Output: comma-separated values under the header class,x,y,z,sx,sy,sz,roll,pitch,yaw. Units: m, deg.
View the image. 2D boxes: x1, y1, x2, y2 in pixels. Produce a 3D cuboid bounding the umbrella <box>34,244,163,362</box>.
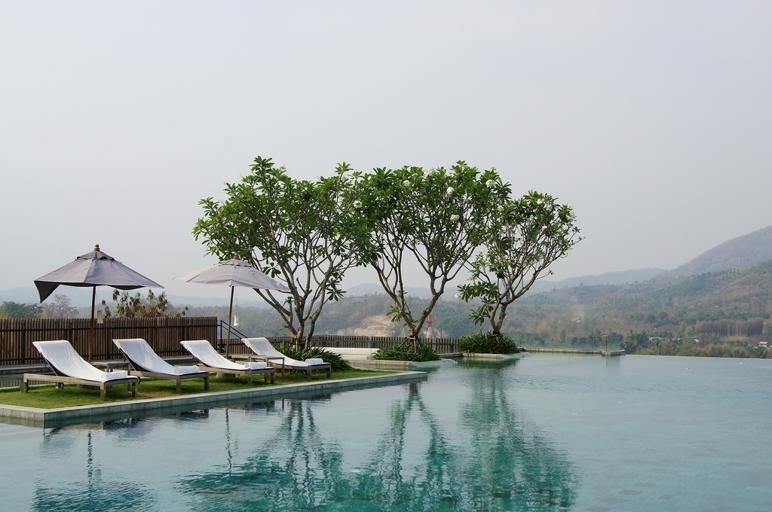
class,x,y,z,sx,sy,sz,roll,pitch,yaw
umbrella,-9.193,1.590,19.224,3.407,3.132,3.594,2,3,-13
